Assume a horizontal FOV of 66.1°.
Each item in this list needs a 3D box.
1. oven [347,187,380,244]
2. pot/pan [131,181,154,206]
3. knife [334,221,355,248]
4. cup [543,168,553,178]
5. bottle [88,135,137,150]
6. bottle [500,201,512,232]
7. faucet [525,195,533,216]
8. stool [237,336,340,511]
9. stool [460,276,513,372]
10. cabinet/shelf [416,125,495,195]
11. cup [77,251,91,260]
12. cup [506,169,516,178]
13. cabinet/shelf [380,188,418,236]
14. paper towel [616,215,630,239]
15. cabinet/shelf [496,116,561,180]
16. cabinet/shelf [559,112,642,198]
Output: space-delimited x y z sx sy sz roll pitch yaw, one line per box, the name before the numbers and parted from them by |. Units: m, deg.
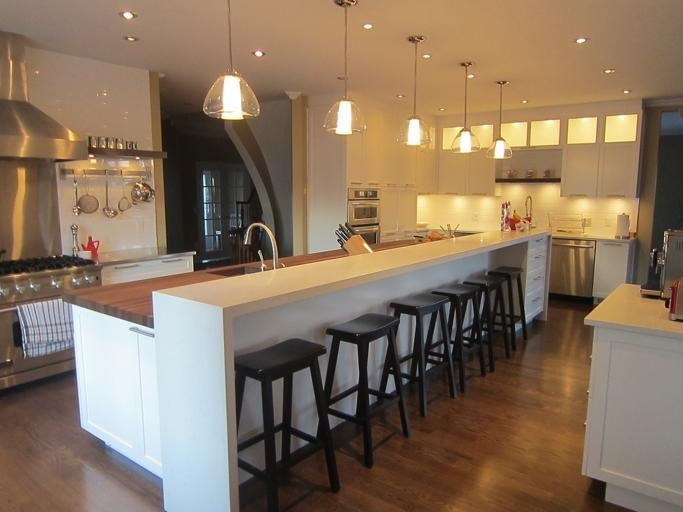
oven | 0.460 -0.562 7.858 0.624 0.876 0.462 2 6 33
pot/pan | -2.305 -0.689 6.143 0.218 0.260 0.230 17 -8 -3
knife | 0.010 -0.211 5.235 0.110 0.294 0.202 1 -3 39
cup | 3.250 -1.305 8.261 0.132 0.138 0.119 0 12 6
bottle | -2.536 -1.255 5.808 0.215 0.143 0.644 3 11 33
bottle | 2.168 -0.522 6.942 0.097 0.348 0.382 0 10 15
faucet | 3.079 -0.834 8.625 0.131 0.307 0.050 5 12 40
stool | -0.385 1.103 3.506 0.696 1.015 0.502 -9 11 -35
stool | 1.502 0.717 5.698 0.516 0.945 0.538 -15 14 -41
cabinet/shelf | 2.025 -1.614 9.124 1.241 1.162 0.389 5 12 24
cup | -2.738 -0.002 5.563 0.071 0.057 0.073 1 13 0
cup | 2.766 -1.340 8.566 0.182 0.184 0.098 2 9 24
cabinet/shelf | 0.890 -0.718 8.435 0.261 0.701 0.770 2 4 30
paper towel | 4.034 -0.422 7.527 0.154 0.327 0.318 2 10 25
cabinet/shelf | 2.956 -1.716 8.197 1.002 1.036 0.334 3 6 33
cabinet/shelf | 3.849 -1.484 7.699 1.162 1.517 0.470 4 6 37
